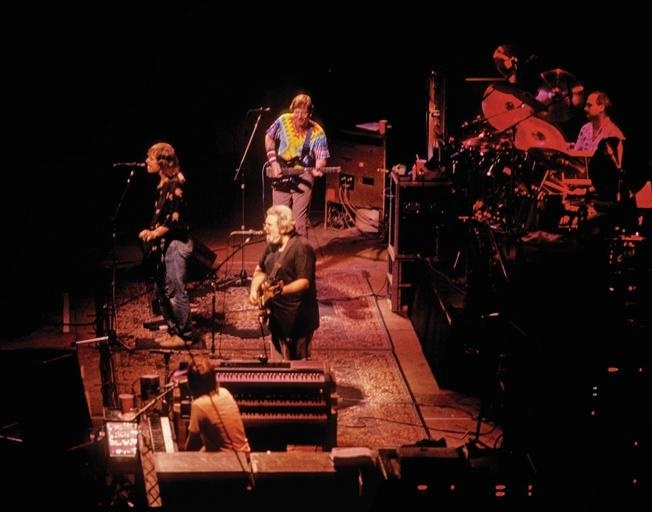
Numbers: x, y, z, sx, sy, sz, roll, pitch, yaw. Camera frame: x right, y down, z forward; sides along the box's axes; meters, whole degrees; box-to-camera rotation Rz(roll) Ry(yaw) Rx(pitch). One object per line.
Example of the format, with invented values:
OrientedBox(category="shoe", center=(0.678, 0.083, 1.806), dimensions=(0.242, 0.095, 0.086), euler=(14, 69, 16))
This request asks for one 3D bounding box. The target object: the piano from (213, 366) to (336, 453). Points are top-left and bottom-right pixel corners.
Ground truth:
OrientedBox(category="piano", center=(-0.444, 1.511, 7.531), dimensions=(1.257, 1.015, 0.791), euler=(-1, 7, -3))

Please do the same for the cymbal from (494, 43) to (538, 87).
OrientedBox(category="cymbal", center=(3.077, -3.115, 11.252), dimensions=(0.703, 0.623, 0.424), euler=(9, 14, 13))

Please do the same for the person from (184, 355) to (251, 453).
OrientedBox(category="person", center=(-1.031, 1.457, 6.558), dimensions=(0.618, 0.908, 0.252), euler=(9, 14, 15))

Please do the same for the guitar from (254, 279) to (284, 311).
OrientedBox(category="guitar", center=(-0.660, 0.412, 7.763), dimensions=(0.355, 0.093, 0.251), euler=(-38, 10, -24))

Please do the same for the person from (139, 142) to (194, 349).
OrientedBox(category="person", center=(-2.123, -0.119, 9.326), dimensions=(0.746, 2.801, 0.643), euler=(2, 13, -12))

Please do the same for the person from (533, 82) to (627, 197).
OrientedBox(category="person", center=(4.044, -1.749, 10.496), dimensions=(1.009, 1.554, 1.251), euler=(10, 14, 20))

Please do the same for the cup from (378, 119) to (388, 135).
OrientedBox(category="cup", center=(1.136, -2.590, 13.747), dimensions=(0.236, 0.320, 0.236), euler=(-1, 16, 0))

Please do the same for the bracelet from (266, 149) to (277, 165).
OrientedBox(category="bracelet", center=(-0.870, -1.597, 11.101), dimensions=(0.163, 0.243, 0.473), euler=(4, 14, -6))

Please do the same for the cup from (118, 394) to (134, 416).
OrientedBox(category="cup", center=(-2.061, 1.508, 6.982), dimensions=(0.154, 0.185, 0.160), euler=(0, 12, 0))

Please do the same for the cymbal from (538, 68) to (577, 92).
OrientedBox(category="cymbal", center=(3.764, -2.843, 11.067), dimensions=(0.359, 0.389, 0.150), euler=(-4, 26, 28))

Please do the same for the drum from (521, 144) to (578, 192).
OrientedBox(category="drum", center=(3.609, -1.362, 10.628), dimensions=(0.946, 0.573, 0.488), euler=(11, 2, 1))
